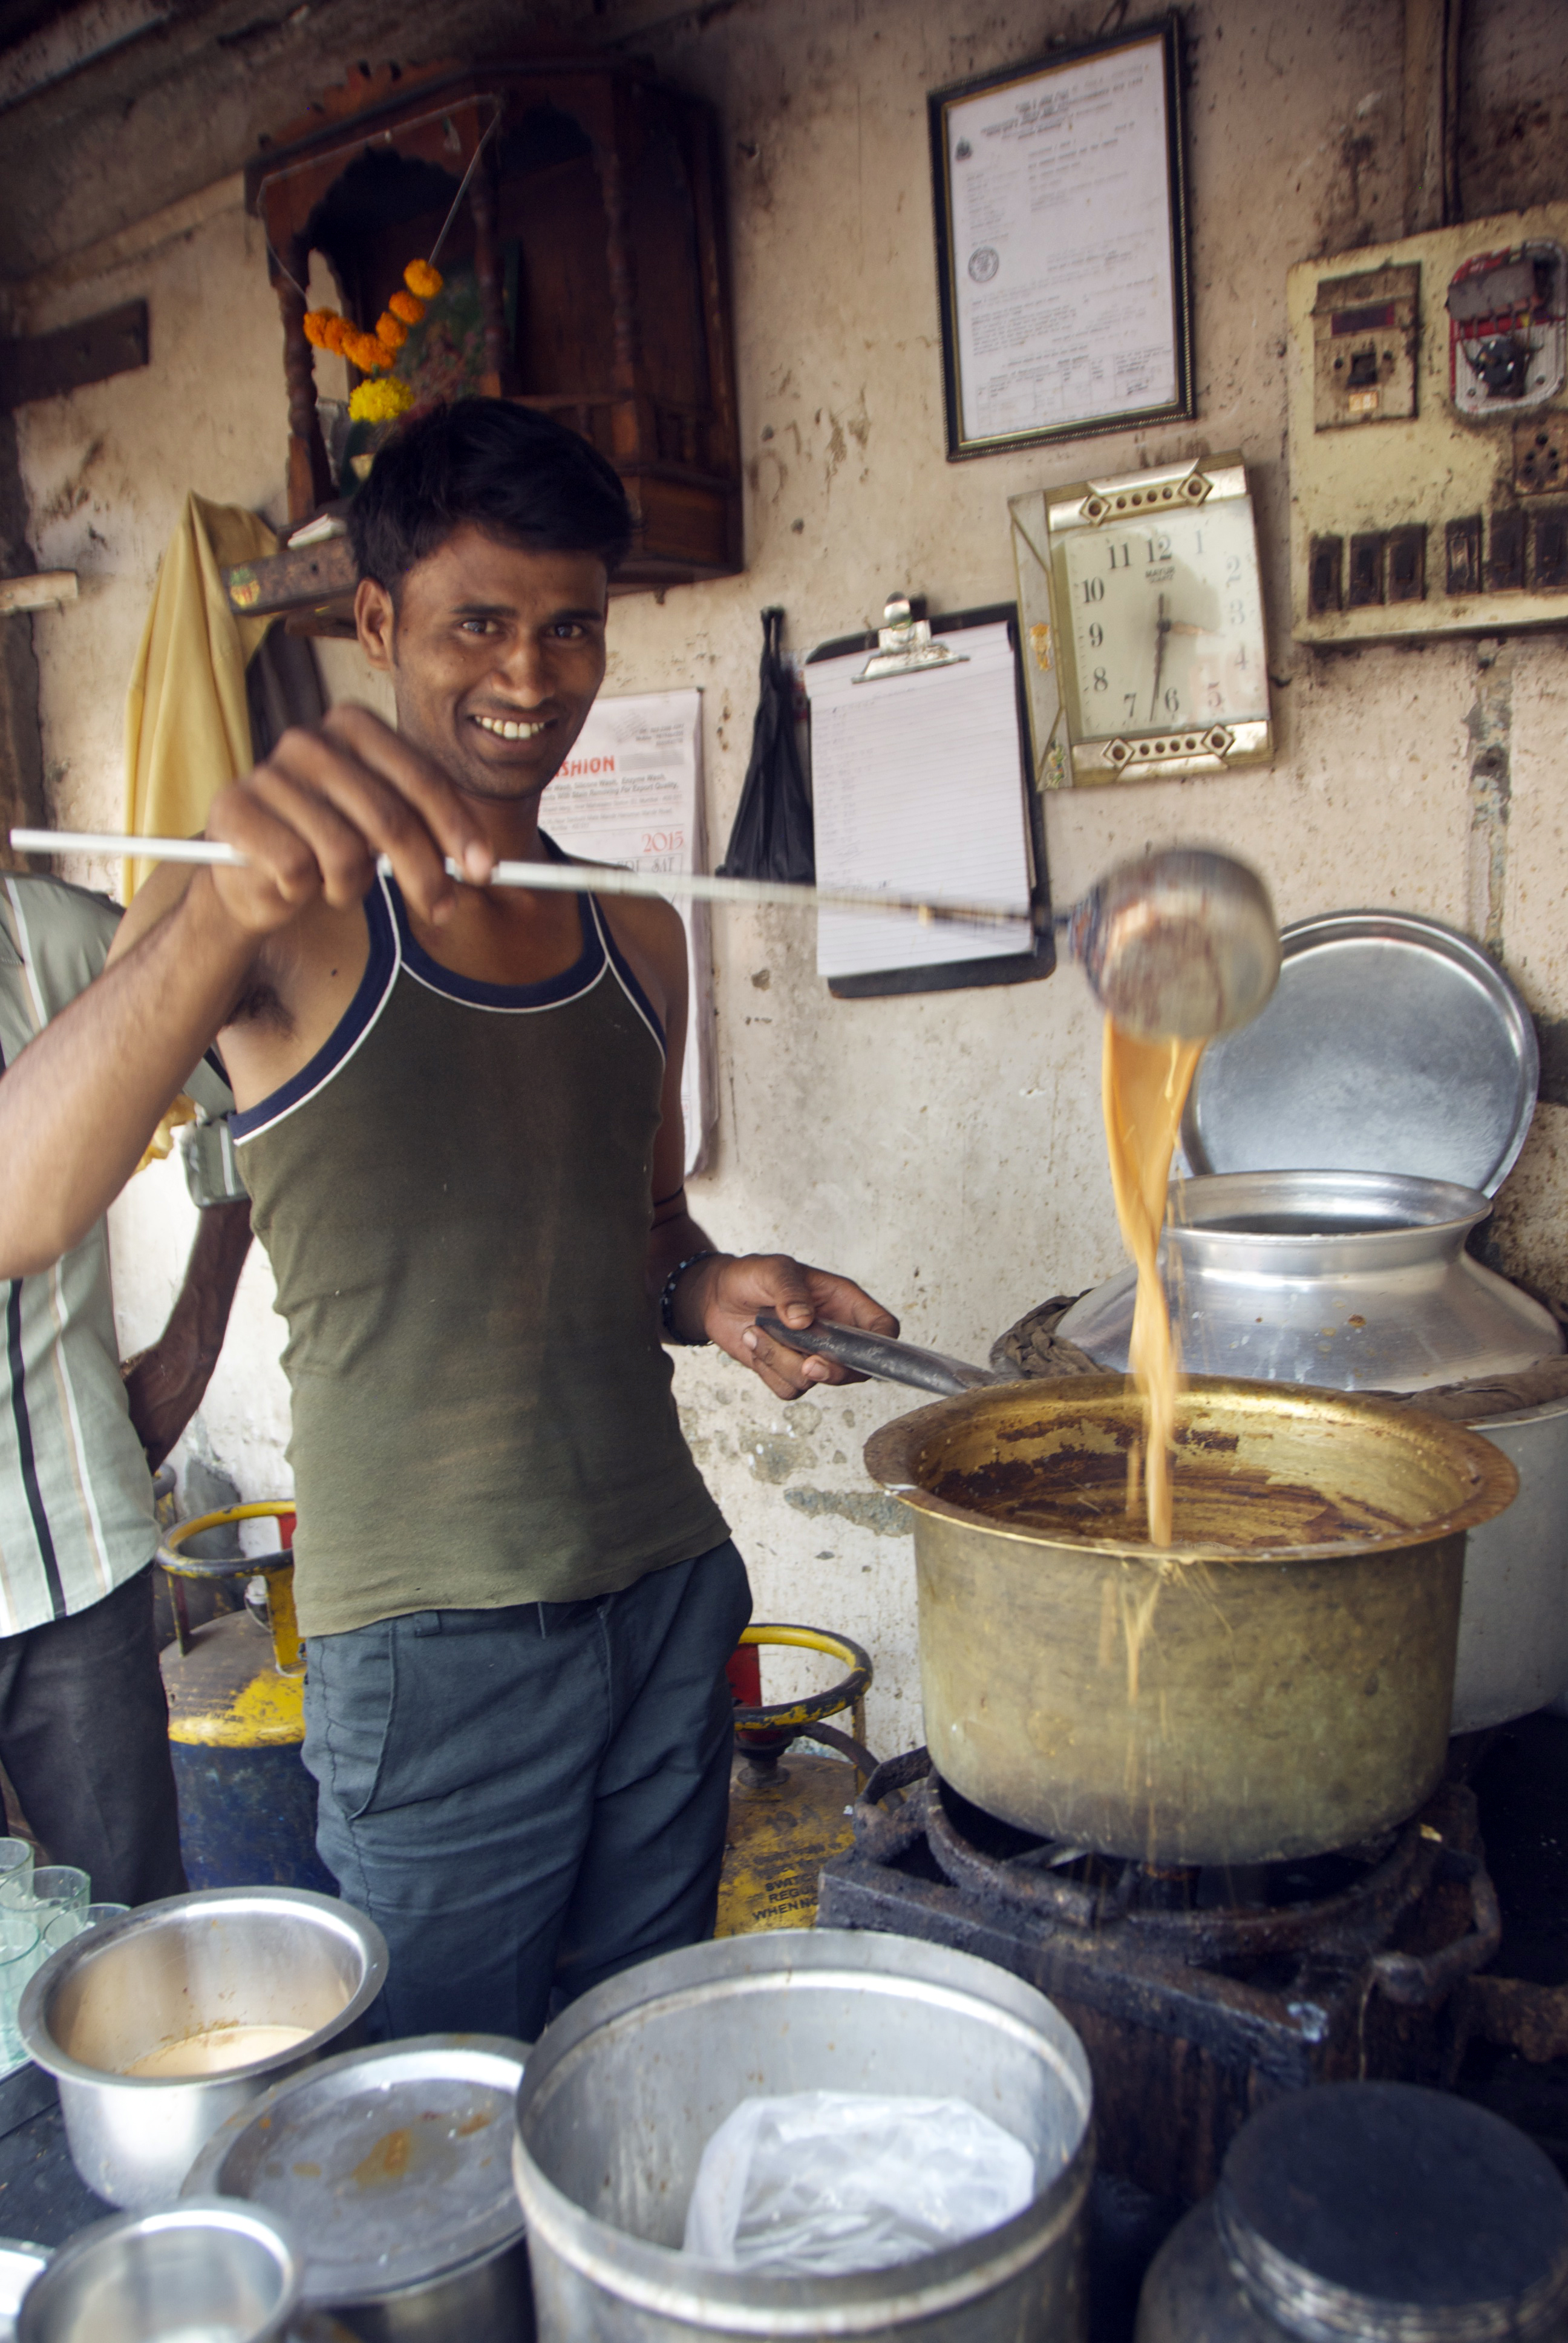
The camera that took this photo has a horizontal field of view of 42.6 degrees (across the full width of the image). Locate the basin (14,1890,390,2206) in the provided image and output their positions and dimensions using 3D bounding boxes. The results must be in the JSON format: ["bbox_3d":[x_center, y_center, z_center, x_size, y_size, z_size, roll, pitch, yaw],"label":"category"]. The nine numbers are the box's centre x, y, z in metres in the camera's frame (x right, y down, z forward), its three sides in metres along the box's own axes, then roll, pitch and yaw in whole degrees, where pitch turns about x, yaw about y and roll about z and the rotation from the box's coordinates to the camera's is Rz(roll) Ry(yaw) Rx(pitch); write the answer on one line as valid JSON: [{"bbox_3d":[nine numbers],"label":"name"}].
[{"bbox_3d":[-0.403,0.570,1.333,0.204,0.081,0.198,0,16,0],"label":"basin"}]

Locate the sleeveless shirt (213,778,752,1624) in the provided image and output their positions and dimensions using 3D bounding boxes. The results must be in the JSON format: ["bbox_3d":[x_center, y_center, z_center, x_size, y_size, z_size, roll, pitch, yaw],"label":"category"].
[{"bbox_3d":[-0.285,0.045,1.962,0.491,0.744,0.268,-4,5,-22],"label":"sleeveless shirt"}]

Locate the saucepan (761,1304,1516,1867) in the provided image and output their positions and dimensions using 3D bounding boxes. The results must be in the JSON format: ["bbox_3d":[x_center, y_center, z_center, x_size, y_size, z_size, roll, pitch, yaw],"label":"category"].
[{"bbox_3d":[0.296,0.359,1.501,0.431,0.227,0.402,-4,2,-32],"label":"saucepan"}]

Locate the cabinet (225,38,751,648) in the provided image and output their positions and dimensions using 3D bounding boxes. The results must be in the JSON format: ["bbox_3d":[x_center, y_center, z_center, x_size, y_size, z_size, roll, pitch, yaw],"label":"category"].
[{"bbox_3d":[-0.593,-1.409,3.395,0.849,0.755,0.494,6,22,33],"label":"cabinet"}]
